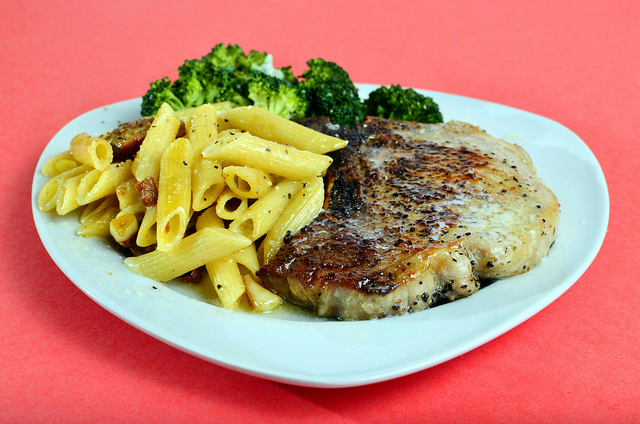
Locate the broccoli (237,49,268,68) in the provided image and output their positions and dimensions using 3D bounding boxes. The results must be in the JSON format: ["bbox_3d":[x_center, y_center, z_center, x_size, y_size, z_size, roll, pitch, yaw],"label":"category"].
[{"bbox_3d":[-0.680,-1.516,5.950,0.240,0.153,0.161,17,5,33],"label":"broccoli"}]

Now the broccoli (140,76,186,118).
[{"bbox_3d":[-1.430,-1.025,5.395,0.393,0.295,0.350,14,4,-6],"label":"broccoli"}]
